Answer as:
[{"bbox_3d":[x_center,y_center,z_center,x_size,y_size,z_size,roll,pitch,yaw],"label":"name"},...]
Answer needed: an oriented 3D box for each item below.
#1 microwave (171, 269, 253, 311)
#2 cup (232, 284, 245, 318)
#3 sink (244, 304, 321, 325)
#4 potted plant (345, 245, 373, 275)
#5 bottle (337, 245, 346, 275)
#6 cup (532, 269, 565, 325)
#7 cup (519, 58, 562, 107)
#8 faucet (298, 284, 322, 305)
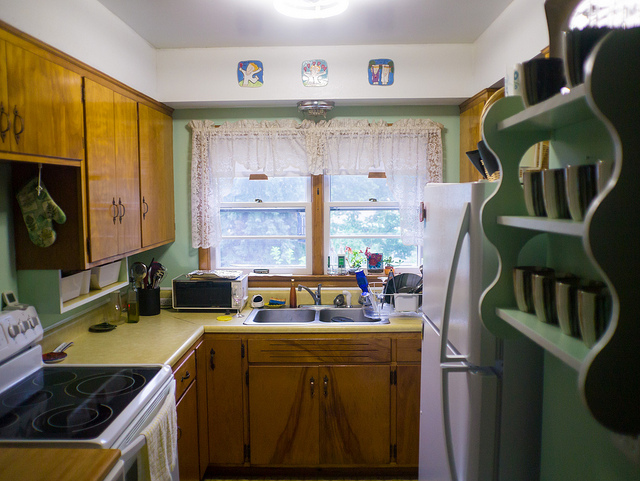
[{"bbox_3d":[-0.798,0.362,3.669,0.517,0.272,0.203,-2,5,-2],"label":"microwave"},{"bbox_3d":[-0.579,0.414,3.585,0.087,0.215,0.194,-2,5,-9],"label":"cup"},{"bbox_3d":[-0.273,0.543,3.648,0.579,0.107,0.306,-4,6,-21],"label":"sink"},{"bbox_3d":[0.306,0.147,3.965,0.219,0.221,0.112,-1,5,4],"label":"potted plant"},{"bbox_3d":[0.168,0.149,3.972,0.064,0.221,0.088,-1,5,2],"label":"bottle"},{"bbox_3d":[0.777,0.199,1.737,0.092,0.131,0.106,-6,-3,-31],"label":"cup"},{"bbox_3d":[0.730,-0.521,1.674,0.131,0.149,0.062,1,5,23],"label":"cup"},{"bbox_3d":[-0.077,0.400,3.763,0.171,0.176,0.246,-2,6,-1],"label":"faucet"}]
